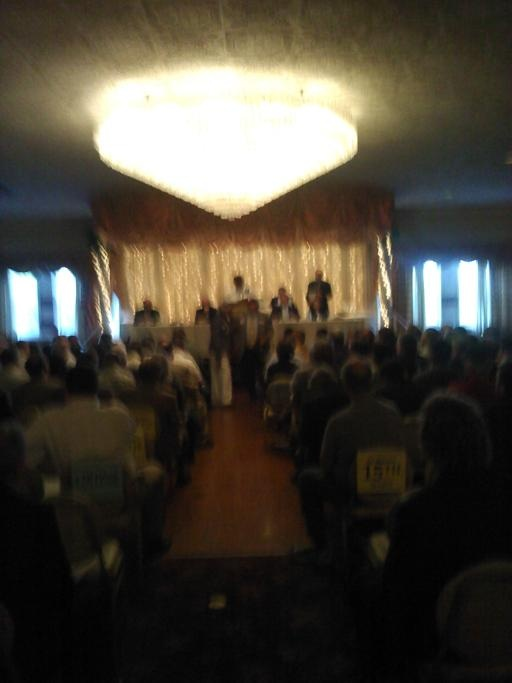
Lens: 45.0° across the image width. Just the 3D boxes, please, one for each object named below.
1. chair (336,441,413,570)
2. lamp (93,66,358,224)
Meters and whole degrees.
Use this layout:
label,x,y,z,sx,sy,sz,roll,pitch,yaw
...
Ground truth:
label,x,y,z,sx,sy,sz,roll,pitch,yaw
chair,0.405,0.552,2.420,0.385,0.589,0.325,0,-5,0
lamp,-0.237,-1.385,4.577,1.848,0.976,0.867,4,14,10
